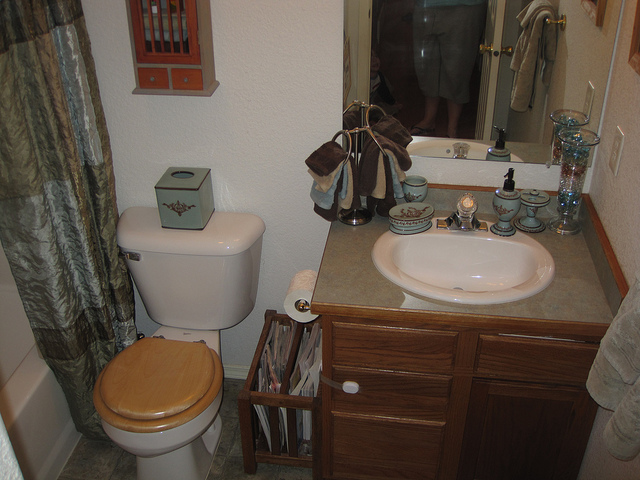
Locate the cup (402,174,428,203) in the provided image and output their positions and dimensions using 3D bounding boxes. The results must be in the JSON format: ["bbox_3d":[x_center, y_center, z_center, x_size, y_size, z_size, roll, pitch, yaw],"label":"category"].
[{"bbox_3d":[0.359,-0.198,1.949,0.097,0.113,0.102,-4,40,3],"label":"cup"}]

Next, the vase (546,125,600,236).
[{"bbox_3d":[0.915,-0.222,1.861,0.135,0.378,0.194,10,28,26],"label":"vase"}]

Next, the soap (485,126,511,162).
[{"bbox_3d":[0.682,-0.377,1.944,0.066,0.117,0.069,-22,39,-24],"label":"soap"}]

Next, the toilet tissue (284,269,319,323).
[{"bbox_3d":[-0.074,0.209,2.054,0.159,0.176,0.205,2,30,7],"label":"toilet tissue"}]

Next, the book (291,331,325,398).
[{"bbox_3d":[-0.053,0.483,2.018,0.165,0.070,0.235,-3,61,23],"label":"book"}]

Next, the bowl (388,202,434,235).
[{"bbox_3d":[0.335,-0.085,1.863,0.121,0.042,0.125,-5,32,3],"label":"bowl"}]
